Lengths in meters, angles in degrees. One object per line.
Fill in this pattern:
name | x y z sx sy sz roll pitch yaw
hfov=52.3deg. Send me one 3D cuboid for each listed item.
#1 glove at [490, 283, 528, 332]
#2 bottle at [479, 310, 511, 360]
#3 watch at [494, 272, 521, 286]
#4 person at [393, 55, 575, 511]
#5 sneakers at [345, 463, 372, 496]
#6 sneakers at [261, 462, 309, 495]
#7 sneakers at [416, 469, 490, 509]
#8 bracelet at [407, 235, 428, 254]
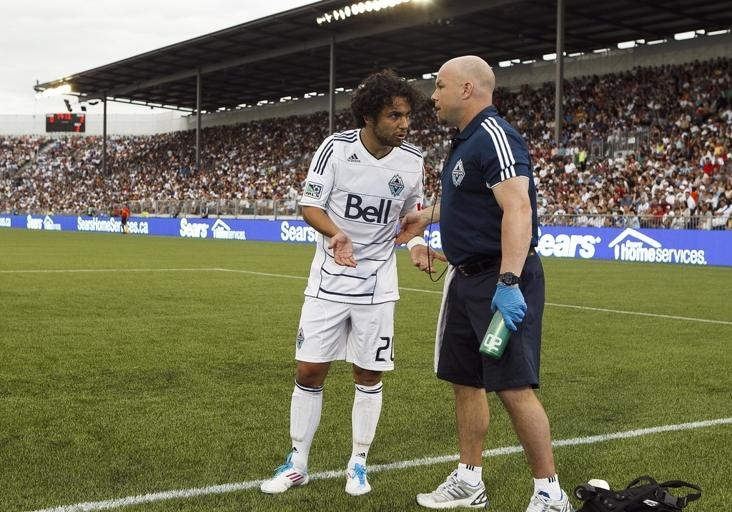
glove | 0.879 0.318 4.558 0.198 0.295 0.122 1 -4 12
bottle | 0.802 0.494 4.611 0.105 0.377 0.106 19 -33 13
watch | 0.871 0.145 4.555 0.098 0.080 0.097 6 -4 7
person | 0.858 0.193 4.849 0.996 2.942 0.624 3 7 19
sneakers | -0.061 1.507 5.053 0.171 0.176 0.203 0 8 -1
sneakers | -0.552 1.517 5.134 0.361 0.178 0.127 -6 5 -32
sneakers | 0.585 1.584 5.045 0.510 0.275 0.192 3 -9 -9
bracelet | 0.372 -0.077 5.481 0.111 0.095 0.118 -12 -3 41
